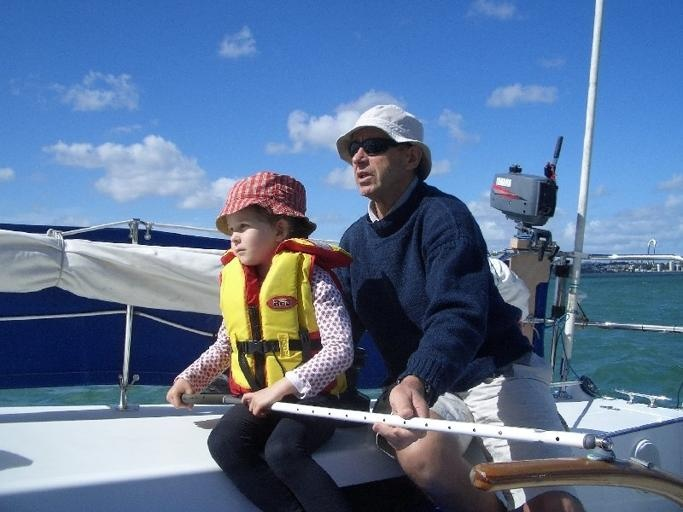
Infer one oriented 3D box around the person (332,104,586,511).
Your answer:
[{"bbox_3d":[0.544,0.154,2.649,0.905,1.871,1.135,-3,3,-4],"label":"person"}]
